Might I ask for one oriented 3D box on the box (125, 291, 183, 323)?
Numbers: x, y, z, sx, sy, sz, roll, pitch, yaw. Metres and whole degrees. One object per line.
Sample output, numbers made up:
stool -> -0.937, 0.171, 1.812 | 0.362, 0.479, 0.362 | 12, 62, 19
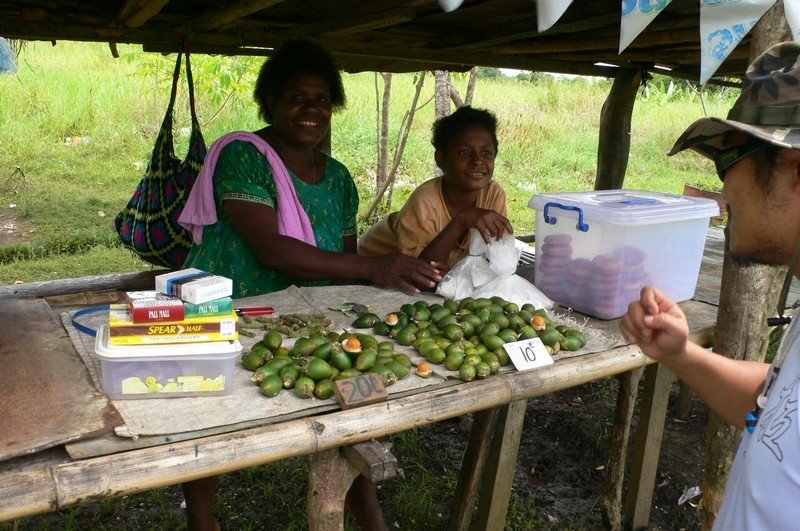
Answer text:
box -> -0.866, 0.143, 1.944 | 0.180, 0.083, 0.186 | -7, 16, -22

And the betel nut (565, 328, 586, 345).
betel nut -> 0.816, 0.336, 2.600 | 0.091, 0.049, 0.067 | 26, 40, 17

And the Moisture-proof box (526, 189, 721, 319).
Moisture-proof box -> 1.285, -0.128, 3.095 | 0.993, 0.529, 0.656 | -7, 14, -36

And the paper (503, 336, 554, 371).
paper -> 0.564, 0.396, 2.418 | 0.168, 0.010, 0.221 | -12, 22, 2

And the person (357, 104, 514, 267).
person -> 0.295, -0.454, 3.886 | 0.848, 1.192, 1.304 | 2, 3, -20

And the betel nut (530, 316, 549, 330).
betel nut -> 0.643, 0.269, 2.549 | 0.060, 0.048, 0.066 | -4, 16, -22

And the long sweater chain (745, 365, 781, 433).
long sweater chain -> 1.023, 0.385, 1.526 | 0.057, 0.198, 0.053 | 0, 28, -11

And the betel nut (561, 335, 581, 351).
betel nut -> 0.788, 0.365, 2.532 | 0.081, 0.044, 0.058 | -3, 4, -3

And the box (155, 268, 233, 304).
box -> -0.711, 0.073, 1.970 | 0.212, 0.046, 0.143 | 15, 19, 34

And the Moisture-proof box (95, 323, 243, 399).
Moisture-proof box -> -0.823, 0.368, 1.941 | 0.409, 0.132, 0.303 | -1, 7, -12

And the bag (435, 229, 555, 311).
bag -> 0.565, 0.046, 3.067 | 0.590, 0.359, 0.392 | 5, -7, 31

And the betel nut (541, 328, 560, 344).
betel nut -> 0.685, 0.326, 2.519 | 0.084, 0.049, 0.058 | -5, 29, 12

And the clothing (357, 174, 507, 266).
clothing -> 0.140, -0.353, 4.155 | 0.915, 0.532, 1.458 | -3, -5, -36

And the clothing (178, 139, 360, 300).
clothing -> -0.746, -0.268, 3.622 | 0.767, 1.202, 1.150 | 5, 3, 34

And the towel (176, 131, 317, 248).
towel -> -0.897, -0.441, 3.439 | 0.792, 0.713, 0.205 | 0, 1, -4
